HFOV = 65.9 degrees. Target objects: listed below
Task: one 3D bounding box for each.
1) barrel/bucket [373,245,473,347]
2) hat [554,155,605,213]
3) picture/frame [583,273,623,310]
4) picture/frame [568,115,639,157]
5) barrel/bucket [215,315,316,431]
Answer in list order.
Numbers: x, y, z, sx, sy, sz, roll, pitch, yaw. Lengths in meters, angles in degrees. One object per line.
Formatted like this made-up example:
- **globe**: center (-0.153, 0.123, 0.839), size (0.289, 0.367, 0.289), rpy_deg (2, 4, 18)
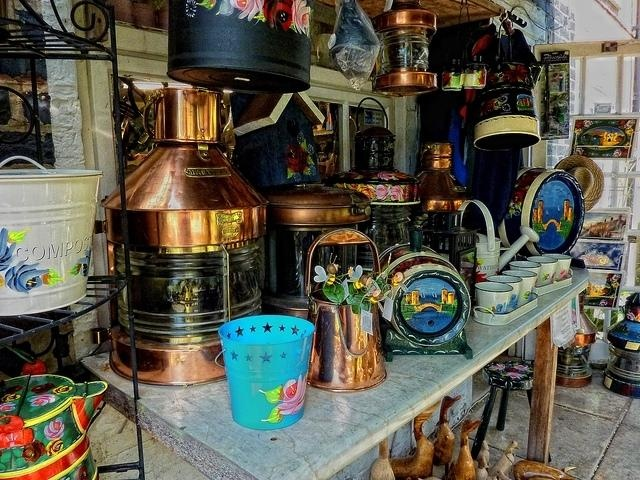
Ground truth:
- **barrel/bucket**: center (0.408, 0.222, 1.985), size (0.273, 0.293, 0.367), rpy_deg (0, 4, -1)
- **hat**: center (2.127, -0.463, 4.027), size (0.270, 0.454, 0.377), rpy_deg (-3, 10, -7)
- **picture/frame**: center (2.393, 0.417, 4.164), size (0.361, 0.362, 0.019), rpy_deg (9, 16, 27)
- **picture/frame**: center (2.521, -0.930, 4.357), size (0.424, 0.309, 0.046), rpy_deg (5, 7, 20)
- **barrel/bucket**: center (-0.150, 0.367, 1.495), size (0.303, 0.228, 0.294), rpy_deg (0, 1, 0)
